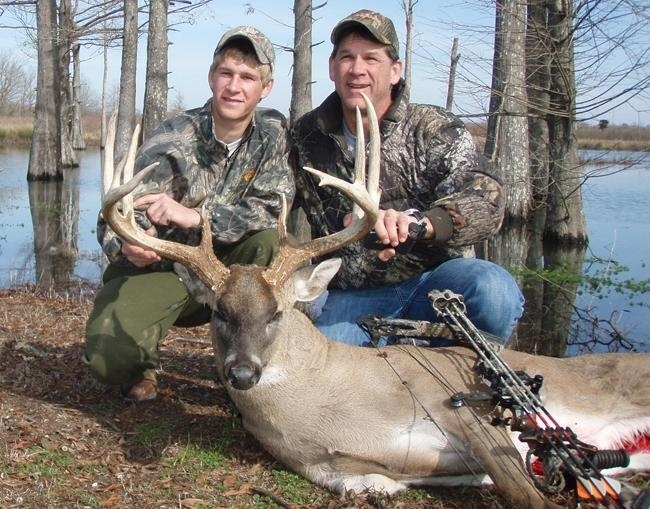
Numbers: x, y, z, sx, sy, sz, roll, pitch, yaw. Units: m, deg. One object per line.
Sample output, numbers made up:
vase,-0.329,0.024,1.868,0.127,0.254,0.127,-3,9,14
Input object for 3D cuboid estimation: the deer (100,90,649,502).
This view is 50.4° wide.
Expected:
deer,0.479,0.288,5.300,4.165,2.977,1.483,4,6,10

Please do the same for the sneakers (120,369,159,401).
sneakers,-1.662,1.196,6.209,0.239,0.214,0.384,-1,-8,-12
